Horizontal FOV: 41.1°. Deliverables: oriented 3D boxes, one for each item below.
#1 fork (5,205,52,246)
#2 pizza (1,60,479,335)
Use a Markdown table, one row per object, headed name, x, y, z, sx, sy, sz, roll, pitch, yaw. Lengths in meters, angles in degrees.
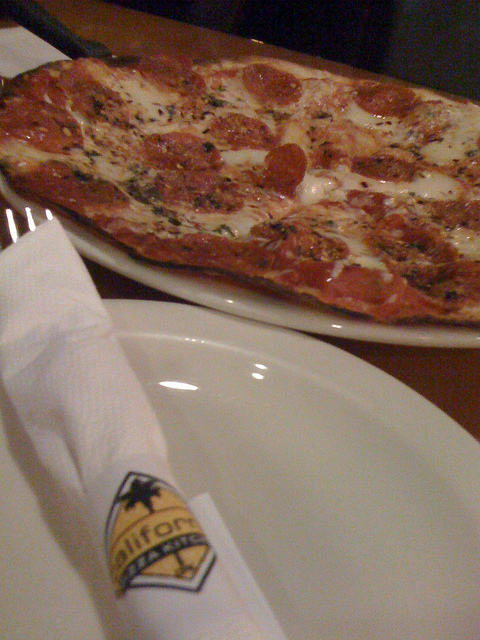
| name | x | y | z | sx | sy | sz | roll | pitch | yaw |
| --- | --- | --- | --- | --- | --- | --- | --- | --- | --- |
| fork | -0.190 | -0.086 | 0.578 | 0.029 | 0.006 | 0.085 | -4 | 29 | -17 |
| pizza | 0.020 | -0.198 | 0.747 | 0.524 | 0.195 | 0.458 | 7 | 37 | 14 |
